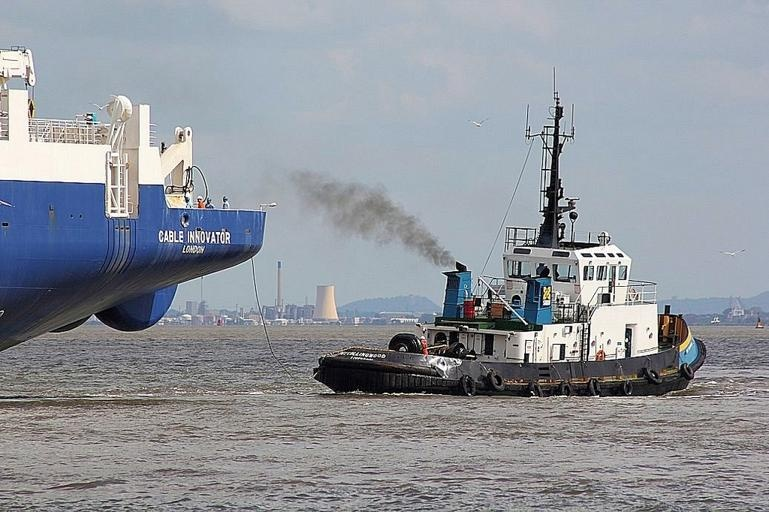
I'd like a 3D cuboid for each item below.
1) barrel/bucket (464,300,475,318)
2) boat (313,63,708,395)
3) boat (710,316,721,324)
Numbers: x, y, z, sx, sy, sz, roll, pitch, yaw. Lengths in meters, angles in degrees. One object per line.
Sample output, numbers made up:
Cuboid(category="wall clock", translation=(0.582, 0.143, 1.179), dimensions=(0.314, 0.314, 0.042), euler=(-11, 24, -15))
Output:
Cuboid(category="barrel/bucket", translation=(3.155, 1.880, 60.231), dimensions=(0.417, 0.650, 0.272), euler=(0, 7, 3))
Cuboid(category="boat", translation=(5.481, 0.163, 62.348), dimensions=(18.678, 10.332, 7.458), euler=(-1, 3, -39))
Cuboid(category="boat", translation=(69.715, 12.917, 342.352), dimensions=(1.303, 1.788, 4.474), euler=(2, 3, 9))
